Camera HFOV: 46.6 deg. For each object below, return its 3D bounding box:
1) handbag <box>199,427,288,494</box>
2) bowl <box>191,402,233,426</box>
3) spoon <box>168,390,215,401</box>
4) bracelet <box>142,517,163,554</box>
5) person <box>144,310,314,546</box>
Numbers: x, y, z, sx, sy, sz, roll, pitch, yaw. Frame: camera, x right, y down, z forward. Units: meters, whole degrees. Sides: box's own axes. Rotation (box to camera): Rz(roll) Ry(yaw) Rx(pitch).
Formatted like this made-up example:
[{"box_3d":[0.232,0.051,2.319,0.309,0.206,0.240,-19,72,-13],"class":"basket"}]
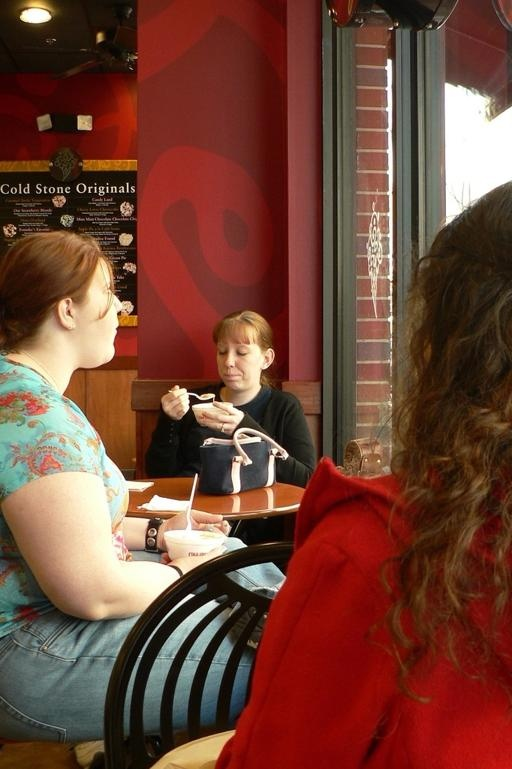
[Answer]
[{"box_3d":[-0.042,0.188,1.910,0.280,0.201,0.202,2,-2,-42],"class":"handbag"},{"box_3d":[-0.140,0.100,2.061,0.105,0.047,0.082,2,2,-6],"class":"bowl"},{"box_3d":[-0.271,0.047,2.484,0.182,0.037,0.033,7,13,18],"class":"spoon"},{"box_3d":[-0.269,0.389,1.533,0.048,0.076,0.079,13,-35,-5],"class":"bracelet"},{"box_3d":[-0.098,0.196,2.471,0.664,0.979,0.562,4,1,12],"class":"person"}]
